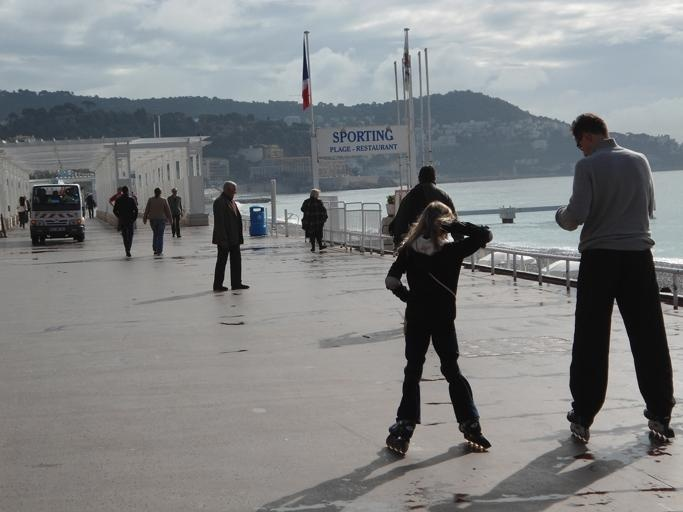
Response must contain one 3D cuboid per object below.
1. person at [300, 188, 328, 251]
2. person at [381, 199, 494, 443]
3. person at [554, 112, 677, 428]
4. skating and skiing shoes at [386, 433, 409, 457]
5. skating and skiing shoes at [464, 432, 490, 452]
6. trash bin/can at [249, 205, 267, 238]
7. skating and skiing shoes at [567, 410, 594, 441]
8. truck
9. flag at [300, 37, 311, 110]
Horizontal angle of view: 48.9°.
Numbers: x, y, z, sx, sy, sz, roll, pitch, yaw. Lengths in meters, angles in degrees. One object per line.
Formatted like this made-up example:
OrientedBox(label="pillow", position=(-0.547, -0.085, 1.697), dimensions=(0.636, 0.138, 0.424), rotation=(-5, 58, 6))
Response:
OrientedBox(label="person", position=(-0.771, -1.031, 21.307), dimensions=(0.698, 1.755, 1.543), rotation=(-1, 6, -3))
OrientedBox(label="person", position=(0.676, 0.488, 5.299), dimensions=(0.741, 1.732, 0.465), rotation=(-1, 6, 3))
OrientedBox(label="person", position=(1.936, 0.152, 5.281), dimensions=(0.808, 2.321, 0.616), rotation=(-2, 6, -8))
OrientedBox(label="skating and skiing shoes", position=(0.390, 1.307, 5.209), dimensions=(0.160, 0.146, 0.182), rotation=(-1, 6, 3))
OrientedBox(label="skating and skiing shoes", position=(0.932, 1.305, 5.272), dimensions=(0.084, 0.105, 0.233), rotation=(-3, 3, -33))
OrientedBox(label="trash bin/can", position=(-3.251, -1.363, 29.275), dimensions=(0.587, 1.168, 1.060), rotation=(-2, 6, -9))
OrientedBox(label="skating and skiing shoes", position=(1.694, 1.250, 5.345), dimensions=(0.091, 0.270, 0.122), rotation=(-7, -33, 2))
OrientedBox(label="truck", position=(-10.992, -1.716, 29.225), dimensions=(1.662, 1.824, 3.111), rotation=(-1, -1, -14))
OrientedBox(label="flag", position=(-1.248, -6.608, 26.807), dimensions=(0.256, 2.511, 0.647), rotation=(-2, 6, -5))
